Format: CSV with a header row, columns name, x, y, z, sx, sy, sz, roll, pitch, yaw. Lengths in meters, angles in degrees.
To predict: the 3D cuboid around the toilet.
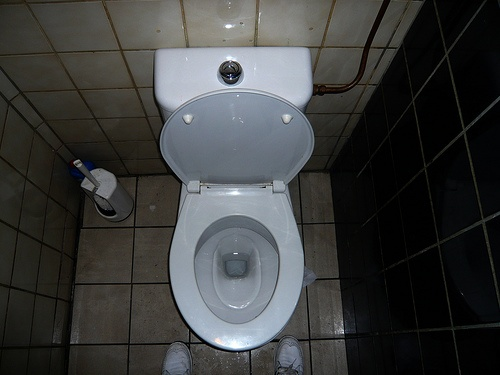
name,x,y,z,sx,sy,sz,roll,pitch,yaw
toilet,-0.051,0.153,1.743,0.518,1.063,1.057,-3,64,-2
